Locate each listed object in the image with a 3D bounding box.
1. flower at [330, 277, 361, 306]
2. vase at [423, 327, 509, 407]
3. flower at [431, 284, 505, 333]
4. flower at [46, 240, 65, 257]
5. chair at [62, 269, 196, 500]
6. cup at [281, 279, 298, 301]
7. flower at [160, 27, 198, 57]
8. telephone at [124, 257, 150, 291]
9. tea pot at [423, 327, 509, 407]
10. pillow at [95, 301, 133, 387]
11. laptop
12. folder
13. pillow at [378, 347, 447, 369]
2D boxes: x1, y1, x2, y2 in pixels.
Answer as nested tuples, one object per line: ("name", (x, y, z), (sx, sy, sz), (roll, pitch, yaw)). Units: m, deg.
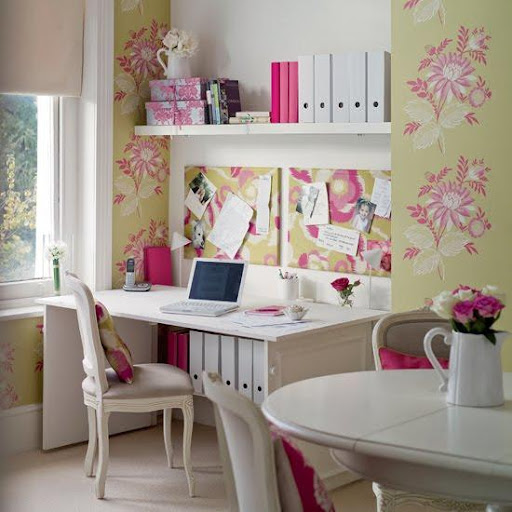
("flower", (0.484, 0.186, 2.678), (0.128, 0.207, 0.164), (-3, 5, 2))
("vase", (0.512, 0.274, 1.238), (0.217, 0.213, 0.140), (0, 3, -3))
("flower", (0.515, 0.123, 1.164), (0.123, 0.092, 0.127), (-5, 14, -16))
("flower", (-1.242, -0.043, 3.009), (0.100, 0.114, 0.148), (-2, -2, -29))
("chair", (-0.636, 0.646, 2.484), (0.598, 1.044, 0.520), (1, 0, -23))
("cup", (0.198, 0.197, 2.855), (0.103, 0.127, 0.115), (0, -2, 24))
("flower", (-0.480, -1.366, 3.075), (0.188, 0.211, 0.139), (-2, -2, -35))
("telephone", (-0.767, 0.108, 3.109), (0.191, 0.205, 0.187), (2, 9, -8))
("tea pot", (0.510, 0.276, 1.247), (0.217, 0.213, 0.140), (0, 3, -3))
("pillow", (-0.671, 0.405, 2.308), (0.146, 0.400, 0.209), (-3, -2, -11))
("laptop", (-0.277, 0.159, 2.581), (0.400, 0.265, 0.383), (1, 4, 16))
("folder", (0.456, -0.848, 2.437), (0.402, 0.310, 0.225), (2, 3, 37))
("pillow", (0.563, 0.369, 1.756), (0.154, 0.052, 0.163), (2, 7, 15))
